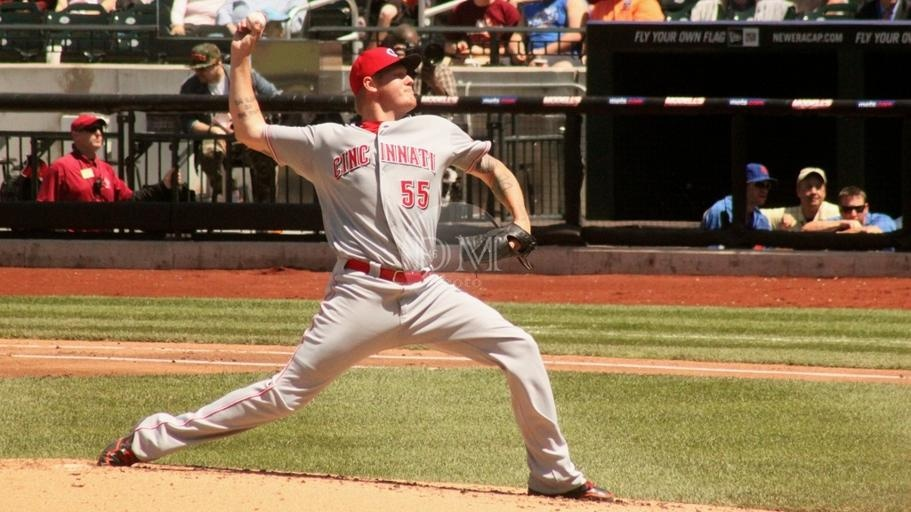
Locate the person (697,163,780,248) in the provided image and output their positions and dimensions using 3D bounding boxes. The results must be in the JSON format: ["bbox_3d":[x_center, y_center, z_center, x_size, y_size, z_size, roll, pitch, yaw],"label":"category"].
[{"bbox_3d":[4.381,-0.779,27.491,1.051,1.286,0.408,1,5,7],"label":"person"}]

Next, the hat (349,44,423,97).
[{"bbox_3d":[-0.899,-2.306,21.783,0.868,0.409,0.506,-27,5,10],"label":"hat"}]

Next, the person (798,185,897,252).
[{"bbox_3d":[6.061,-0.735,28.165,1.417,0.461,1.525,-1,-11,-10],"label":"person"}]

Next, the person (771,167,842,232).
[{"bbox_3d":[5.650,-0.885,28.339,1.325,1.232,0.455,3,-1,-1],"label":"person"}]

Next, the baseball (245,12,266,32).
[{"bbox_3d":[-2.429,-2.847,21.555,0.248,0.229,0.208,0,5,-5],"label":"baseball"}]

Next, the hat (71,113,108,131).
[{"bbox_3d":[-5.644,-2.052,27.072,0.424,0.189,0.307,-8,-5,44],"label":"hat"}]

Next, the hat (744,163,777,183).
[{"bbox_3d":[4.614,-1.300,27.557,0.370,0.229,0.481,-1,2,-39],"label":"hat"}]
